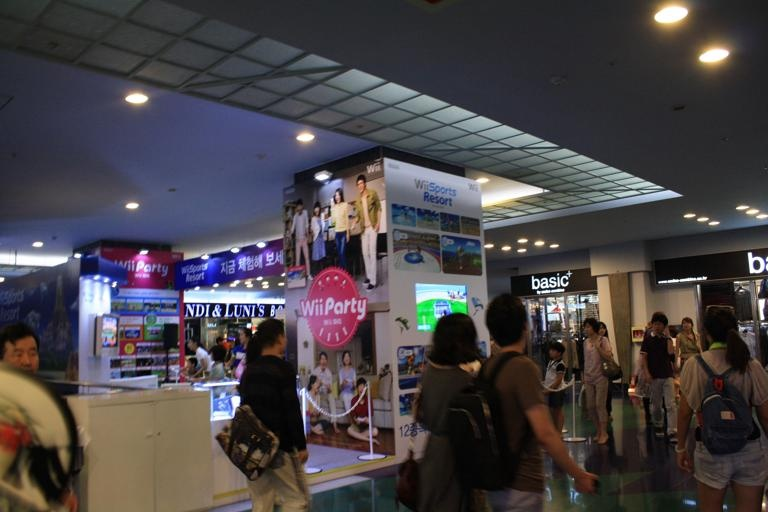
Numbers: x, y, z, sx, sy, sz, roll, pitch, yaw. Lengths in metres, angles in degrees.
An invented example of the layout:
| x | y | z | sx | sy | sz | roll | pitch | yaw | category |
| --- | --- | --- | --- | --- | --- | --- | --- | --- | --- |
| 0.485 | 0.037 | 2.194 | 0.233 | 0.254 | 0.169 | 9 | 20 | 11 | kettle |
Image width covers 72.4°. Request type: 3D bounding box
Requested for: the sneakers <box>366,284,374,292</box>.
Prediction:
| x | y | z | sx | sy | sz | roll | pitch | yaw | category |
| --- | --- | --- | --- | --- | --- | --- | --- | --- | --- |
| -0.221 | 0.513 | 8.343 | 0.100 | 0.076 | 0.193 | -1 | -6 | 8 | sneakers |

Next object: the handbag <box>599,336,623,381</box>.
| x | y | z | sx | sy | sz | roll | pitch | yaw | category |
| --- | --- | --- | --- | --- | --- | --- | --- | --- | --- |
| 3.624 | 1.636 | 8.396 | 0.251 | 0.703 | 0.678 | -4 | -10 | 24 | handbag |

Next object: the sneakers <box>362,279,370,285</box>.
| x | y | z | sx | sy | sz | roll | pitch | yaw | category |
| --- | --- | --- | --- | --- | --- | --- | --- | --- | --- |
| -0.281 | 0.415 | 8.398 | 0.080 | 0.071 | 0.160 | -1 | -7 | 7 | sneakers |
